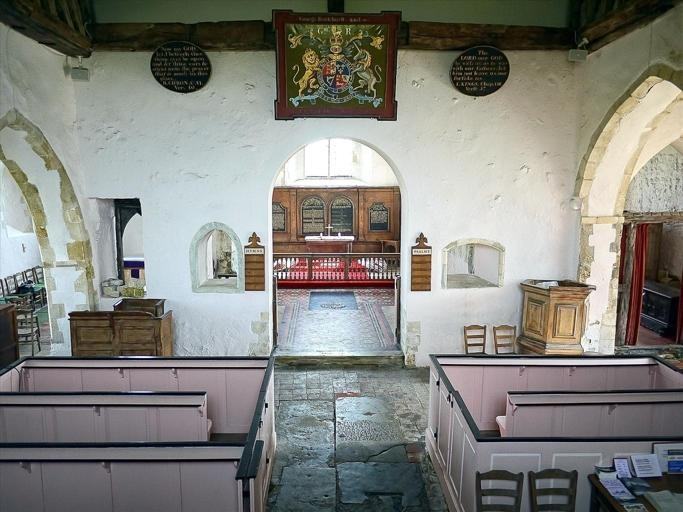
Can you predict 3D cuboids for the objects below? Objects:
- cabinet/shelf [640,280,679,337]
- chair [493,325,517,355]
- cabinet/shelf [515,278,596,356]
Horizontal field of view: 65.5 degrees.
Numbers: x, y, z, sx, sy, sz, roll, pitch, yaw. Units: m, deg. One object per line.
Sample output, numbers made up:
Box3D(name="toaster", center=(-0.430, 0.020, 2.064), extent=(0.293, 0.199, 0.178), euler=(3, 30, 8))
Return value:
Box3D(name="cabinet/shelf", center=(8.632, 1.439, 14.391), extent=(0.797, 1.215, 1.432), euler=(0, 7, 0))
Box3D(name="chair", center=(3.514, 1.779, 11.391), extent=(0.484, 0.622, 0.586), euler=(-1, 2, 15))
Box3D(name="cabinet/shelf", center=(4.189, 1.271, 10.921), extent=(1.784, 1.700, 1.386), euler=(0, 4, -11))
